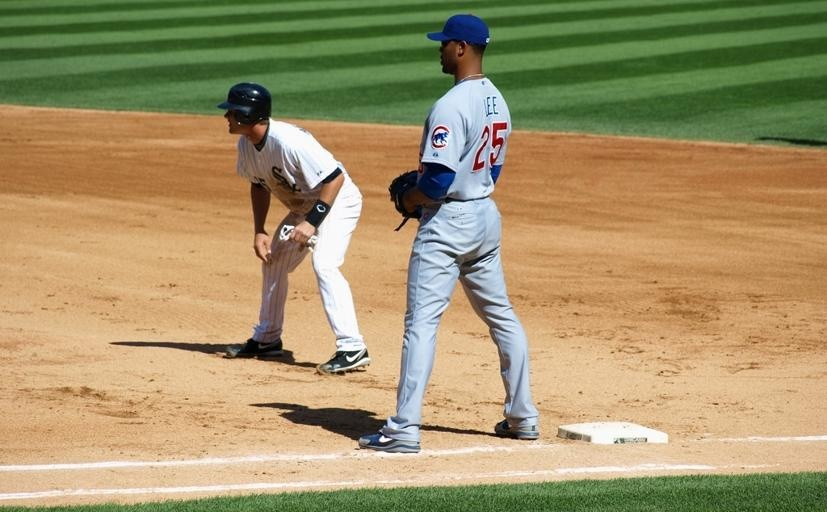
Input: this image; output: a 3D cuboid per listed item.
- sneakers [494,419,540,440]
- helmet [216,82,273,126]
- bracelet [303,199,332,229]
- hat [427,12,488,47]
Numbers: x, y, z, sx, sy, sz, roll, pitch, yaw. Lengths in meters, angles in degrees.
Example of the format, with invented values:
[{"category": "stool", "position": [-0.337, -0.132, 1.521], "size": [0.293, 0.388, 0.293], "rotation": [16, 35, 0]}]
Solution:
[{"category": "sneakers", "position": [1.263, 2.231, 19.601], "size": [0.610, 0.242, 0.223], "rotation": [4, 4, 29]}, {"category": "helmet", "position": [-2.243, -2.049, 20.625], "size": [0.751, 0.443, 0.532], "rotation": [5, 5, 3]}, {"category": "bracelet", "position": [-1.284, -0.565, 20.479], "size": [0.264, 0.361, 0.426], "rotation": [6, 6, 27]}, {"category": "hat", "position": [0.543, -2.847, 19.200], "size": [0.706, 0.278, 0.403], "rotation": [7, 13, 8]}]
